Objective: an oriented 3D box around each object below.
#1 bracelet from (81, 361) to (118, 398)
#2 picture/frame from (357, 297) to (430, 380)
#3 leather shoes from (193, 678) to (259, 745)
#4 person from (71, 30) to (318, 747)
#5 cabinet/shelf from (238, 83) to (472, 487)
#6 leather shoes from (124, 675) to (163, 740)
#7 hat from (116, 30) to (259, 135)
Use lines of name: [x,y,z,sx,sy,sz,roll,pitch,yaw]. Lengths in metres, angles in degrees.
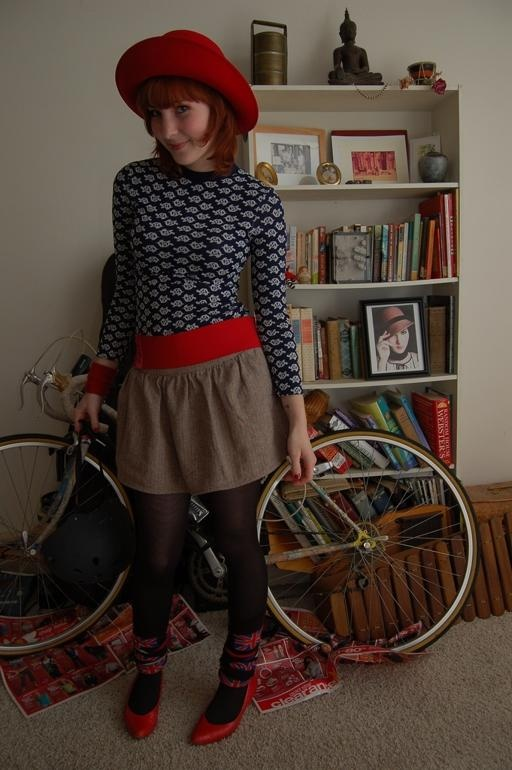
bracelet: [-0.388,-0.017,1.458,0.075,0.095,0.060,19,3,-5]
picture/frame: [0.464,-0.153,1.990,0.251,0.299,0.023,-7,-1,-8]
leather shoes: [-0.076,0.779,1.445,0.083,0.068,0.170,19,44,39]
person: [-0.141,0.055,1.345,0.532,1.548,0.292,-4,14,-8]
cabinet/shelf: [0.373,-0.447,1.983,0.546,0.977,0.245,-4,-21,16]
leather shoes: [-0.265,0.767,1.414,0.060,0.067,0.172,3,18,-5]
hat: [-0.144,-0.620,1.212,0.287,0.174,0.203,-2,14,-3]
